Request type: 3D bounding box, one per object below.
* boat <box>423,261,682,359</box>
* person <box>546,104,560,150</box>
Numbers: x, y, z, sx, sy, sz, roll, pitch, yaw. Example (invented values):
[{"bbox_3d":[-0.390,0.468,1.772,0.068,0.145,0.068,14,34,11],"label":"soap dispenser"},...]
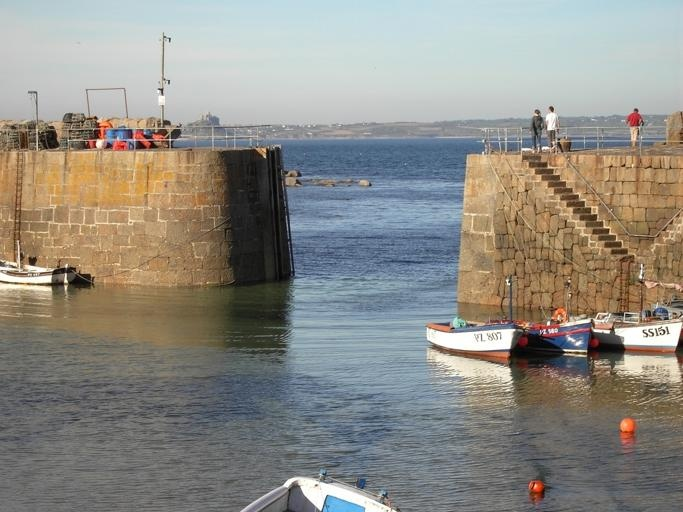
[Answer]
[{"bbox_3d":[7.433,2.036,50.774,8.192,2.798,2.635,-1,4,1],"label":"boat"},{"bbox_3d":[7.990,-4.770,55.583,0.506,1.624,1.205,-1,4,7],"label":"person"}]
